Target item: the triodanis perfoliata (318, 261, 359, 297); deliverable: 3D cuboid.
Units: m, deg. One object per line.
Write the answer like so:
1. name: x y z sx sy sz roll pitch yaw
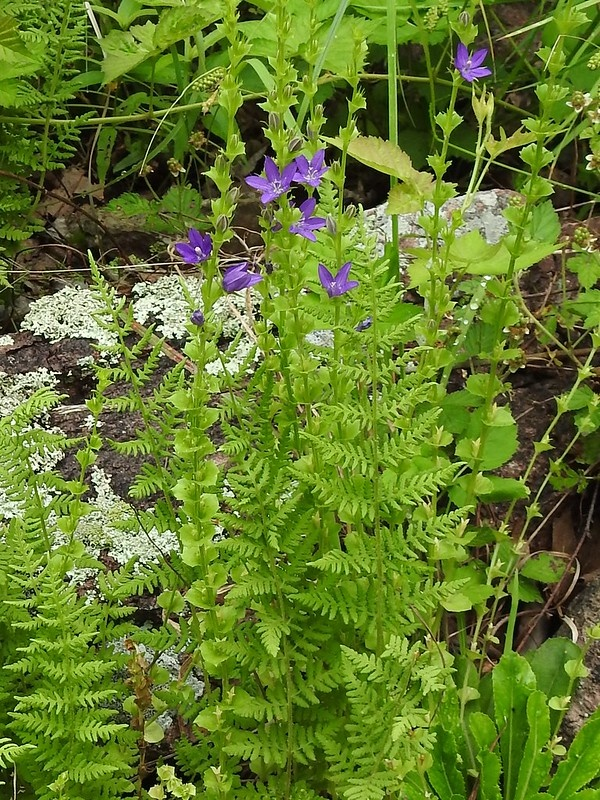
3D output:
1. triodanis perfoliata: 0.064 -0.202 1.373 0.060 0.033 0.058 26 43 26
